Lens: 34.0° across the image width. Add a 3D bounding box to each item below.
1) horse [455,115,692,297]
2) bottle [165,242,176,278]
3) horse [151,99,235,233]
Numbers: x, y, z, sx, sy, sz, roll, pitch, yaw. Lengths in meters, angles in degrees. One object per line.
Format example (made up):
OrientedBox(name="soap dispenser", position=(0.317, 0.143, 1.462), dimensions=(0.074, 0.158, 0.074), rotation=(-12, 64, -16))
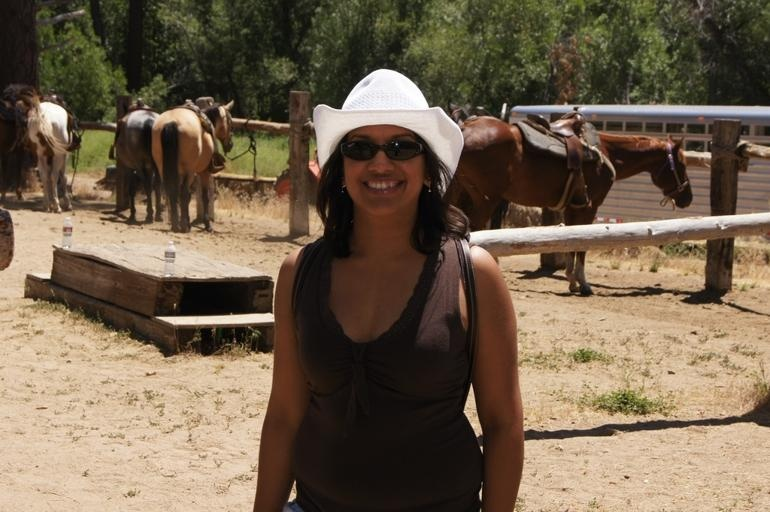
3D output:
OrientedBox(name="horse", position=(3.884, -1.148, 27.216), dimensions=(5.417, 4.097, 1.628), rotation=(5, 6, 1))
OrientedBox(name="bottle", position=(-4.052, 0.017, 23.683), dimensions=(0.188, 0.651, 0.334), rotation=(-1, 7, -12))
OrientedBox(name="horse", position=(-4.801, -2.275, 31.922), dimensions=(1.199, 3.277, 4.606), rotation=(2, 5, 10))
